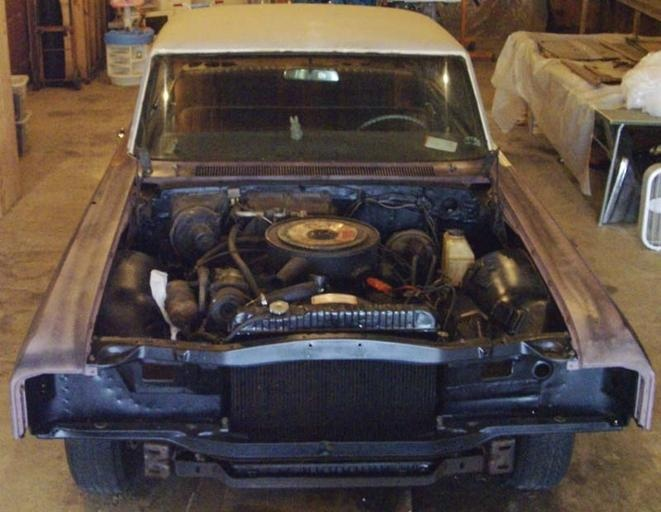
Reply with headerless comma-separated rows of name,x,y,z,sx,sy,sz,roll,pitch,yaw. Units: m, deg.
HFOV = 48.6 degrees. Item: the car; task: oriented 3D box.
car,0.007,-0.024,4.121,2.689,1.943,2.591,2,30,5
